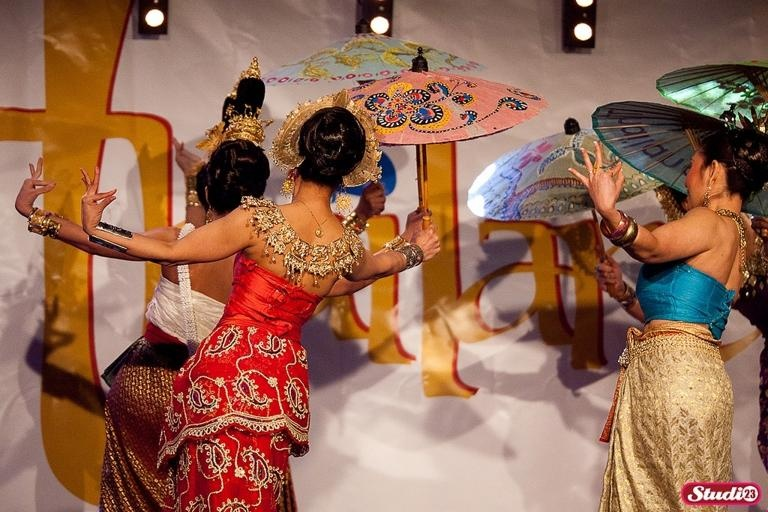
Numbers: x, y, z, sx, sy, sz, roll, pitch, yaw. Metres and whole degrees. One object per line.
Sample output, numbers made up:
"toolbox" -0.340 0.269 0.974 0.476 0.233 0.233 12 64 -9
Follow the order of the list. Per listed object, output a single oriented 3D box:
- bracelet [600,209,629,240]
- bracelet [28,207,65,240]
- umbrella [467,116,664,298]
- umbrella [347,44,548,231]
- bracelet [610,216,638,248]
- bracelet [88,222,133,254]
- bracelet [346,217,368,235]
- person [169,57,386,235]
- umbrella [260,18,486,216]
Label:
"bracelet" 0.976 -0.127 3.709 0.121 0.079 0.121 23 35 -22
"bracelet" -1.391 -0.138 3.601 0.193 0.110 0.131 6 8 2
"umbrella" 0.956 -0.388 4.805 0.850 0.708 0.787 -21 41 12
"umbrella" 0.315 -0.519 4.017 0.726 0.616 0.756 2 32 12
"bracelet" 1.017 -0.102 3.671 0.046 0.125 0.121 31 45 -27
"bracelet" -1.084 -0.080 3.527 0.155 0.112 0.045 16 2 6
"bracelet" -0.121 -0.144 4.149 0.078 0.070 0.094 47 18 6
"person" -0.596 -0.479 4.345 0.988 0.953 0.995 1 -1 6
"umbrella" -0.093 -0.935 4.736 1.124 0.673 0.945 -11 41 -6
